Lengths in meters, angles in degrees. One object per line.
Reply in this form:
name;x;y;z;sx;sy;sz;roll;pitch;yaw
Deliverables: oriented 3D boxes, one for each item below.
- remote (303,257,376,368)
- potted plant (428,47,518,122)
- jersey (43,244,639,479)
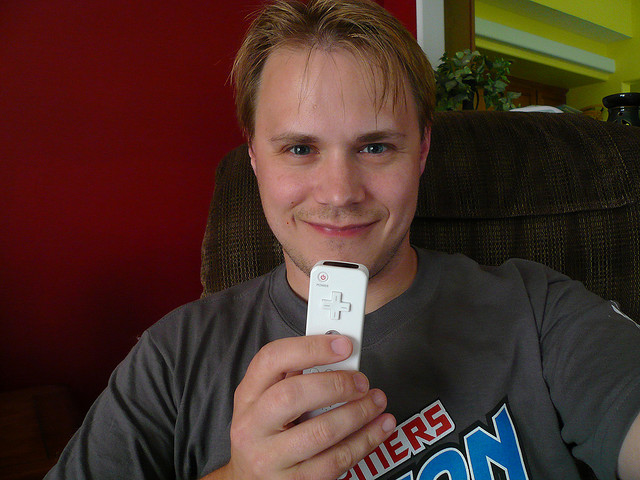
remote;0.043;0.192;1.472;0.194;0.302;0.322;-1;9;4
potted plant;0.687;-0.639;2.647;0.303;0.355;0.280;-14;23;-35
jersey;0.120;0.335;1.605;1.385;0.577;0.370;-1;9;4
